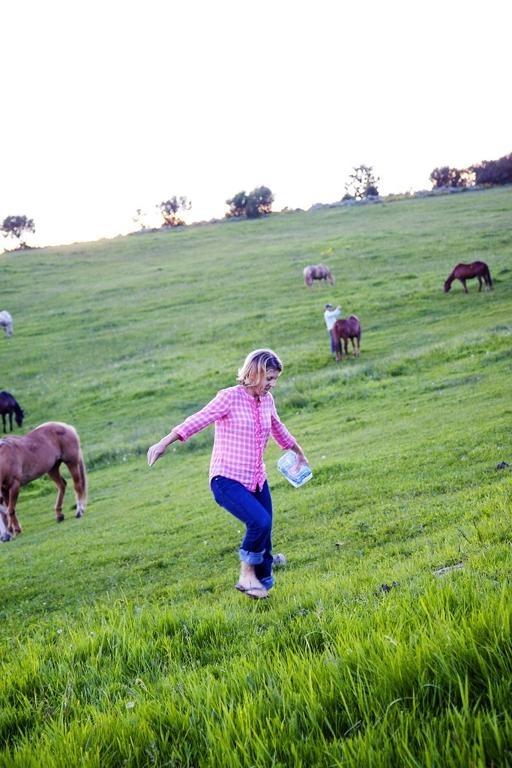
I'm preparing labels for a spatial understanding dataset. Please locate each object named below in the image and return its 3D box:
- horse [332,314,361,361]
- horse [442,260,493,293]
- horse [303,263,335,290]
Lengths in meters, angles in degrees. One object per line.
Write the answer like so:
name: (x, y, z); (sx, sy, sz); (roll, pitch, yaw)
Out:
horse: (2.532, -1.341, 26.156); (0.760, 1.198, 1.388); (-8, 7, 5)
horse: (7.415, -3.733, 32.260); (1.571, 1.037, 2.502); (-10, 7, 3)
horse: (2.835, -5.000, 42.344); (1.207, 0.968, 2.828); (-10, 8, 6)
